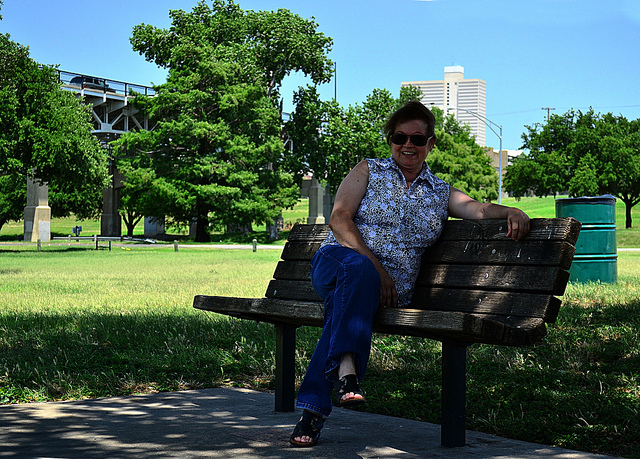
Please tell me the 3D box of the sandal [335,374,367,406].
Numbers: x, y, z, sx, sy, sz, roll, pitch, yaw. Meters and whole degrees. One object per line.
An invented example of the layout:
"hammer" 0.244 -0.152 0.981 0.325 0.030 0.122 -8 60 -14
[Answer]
"sandal" 0.194 1.067 4.609 0.165 0.210 0.198 3 -1 -16

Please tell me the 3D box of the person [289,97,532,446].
"person" 0.711 0.209 5.171 1.365 2.299 1.187 10 -3 -17

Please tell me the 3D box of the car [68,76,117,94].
"car" -18.494 -11.927 57.064 0.609 1.404 3.968 3 -1 36

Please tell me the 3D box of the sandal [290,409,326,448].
"sandal" -0.086 1.357 4.803 0.223 0.253 0.146 3 0 -22

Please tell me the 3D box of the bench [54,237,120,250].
"bench" -15.236 0.696 46.712 2.445 0.769 17.866 3 -1 -18

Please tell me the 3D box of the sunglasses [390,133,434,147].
"sunglasses" 0.667 -0.683 5.335 0.273 0.101 0.090 3 0 3
